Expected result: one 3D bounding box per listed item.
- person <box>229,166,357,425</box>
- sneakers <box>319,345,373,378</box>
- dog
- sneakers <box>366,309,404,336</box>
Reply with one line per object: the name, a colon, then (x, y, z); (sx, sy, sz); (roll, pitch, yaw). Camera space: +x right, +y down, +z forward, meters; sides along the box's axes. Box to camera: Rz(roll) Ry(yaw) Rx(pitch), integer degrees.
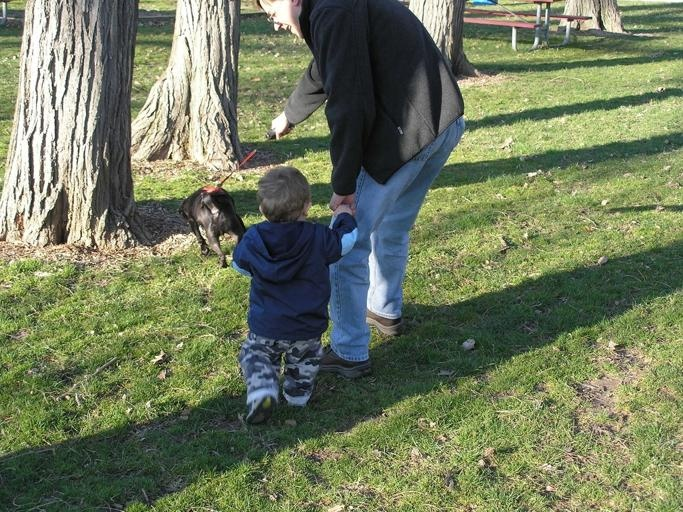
person: (-0.442, 0.302, 6.260); (0.809, 1.939, 1.177); (9, 11, 40)
sneakers: (-0.002, 0.864, 6.659); (0.508, 0.261, 0.189); (10, 13, 34)
dog: (-1.418, -0.385, 8.573); (0.438, 0.866, 1.754); (-19, 15, -20)
sneakers: (0.380, 0.584, 7.130); (0.154, 0.193, 0.416); (-12, 31, -43)
